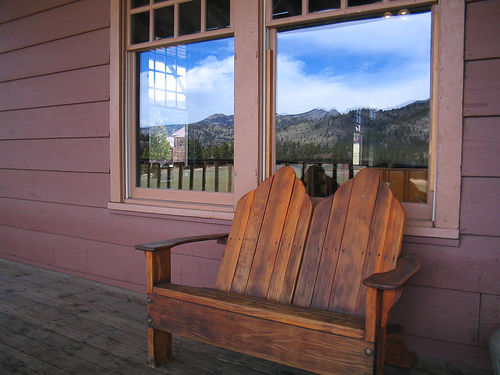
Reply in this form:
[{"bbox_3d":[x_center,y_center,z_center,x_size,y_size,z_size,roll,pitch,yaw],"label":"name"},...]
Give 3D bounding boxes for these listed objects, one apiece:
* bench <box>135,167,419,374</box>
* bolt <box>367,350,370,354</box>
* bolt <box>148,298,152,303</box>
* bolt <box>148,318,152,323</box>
[{"bbox_3d":[0.218,0.522,2.379,1.185,0.902,0.714,0,2,34],"label":"bench"},{"bbox_3d":[0.572,0.790,1.853,0.011,0.017,0.002,2,8,12],"label":"bolt"},{"bbox_3d":[-0.620,0.693,2.372,0.030,0.032,0.017,3,3,36],"label":"bolt"},{"bbox_3d":[-0.621,0.819,2.373,0.036,0.032,0.006,7,10,37],"label":"bolt"}]
